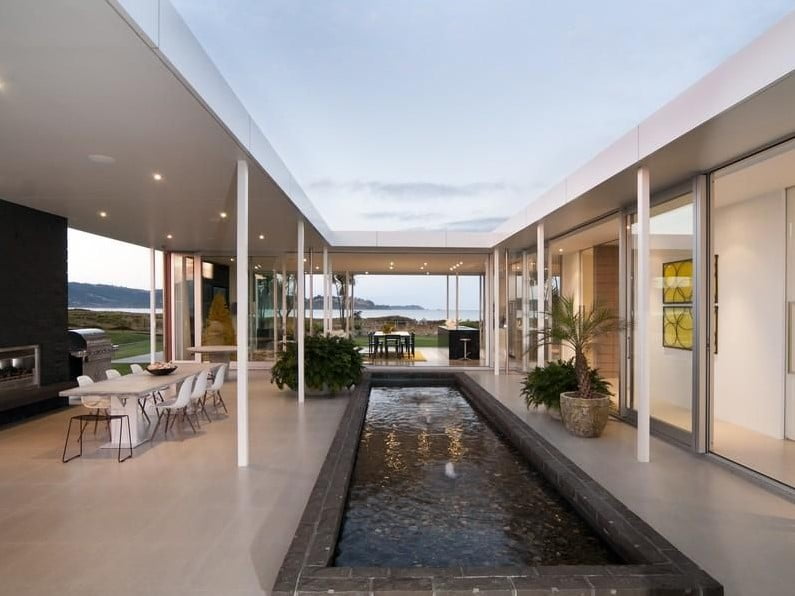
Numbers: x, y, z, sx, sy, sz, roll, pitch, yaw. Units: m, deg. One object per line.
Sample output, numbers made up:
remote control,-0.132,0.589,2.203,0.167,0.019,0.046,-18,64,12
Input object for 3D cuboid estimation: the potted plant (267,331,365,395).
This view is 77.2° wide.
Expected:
potted plant,-1.658,1.304,9.977,1.326,0.870,1.348,-4,-6,32

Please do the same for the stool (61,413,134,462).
stool,-3.895,1.767,6.499,0.762,0.517,0.469,-1,-7,1

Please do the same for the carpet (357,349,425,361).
carpet,-0.111,1.664,14.989,1.842,0.289,1.382,-1,-4,2

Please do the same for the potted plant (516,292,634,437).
potted plant,2.758,0.890,8.011,1.831,2.326,1.849,-1,1,20
